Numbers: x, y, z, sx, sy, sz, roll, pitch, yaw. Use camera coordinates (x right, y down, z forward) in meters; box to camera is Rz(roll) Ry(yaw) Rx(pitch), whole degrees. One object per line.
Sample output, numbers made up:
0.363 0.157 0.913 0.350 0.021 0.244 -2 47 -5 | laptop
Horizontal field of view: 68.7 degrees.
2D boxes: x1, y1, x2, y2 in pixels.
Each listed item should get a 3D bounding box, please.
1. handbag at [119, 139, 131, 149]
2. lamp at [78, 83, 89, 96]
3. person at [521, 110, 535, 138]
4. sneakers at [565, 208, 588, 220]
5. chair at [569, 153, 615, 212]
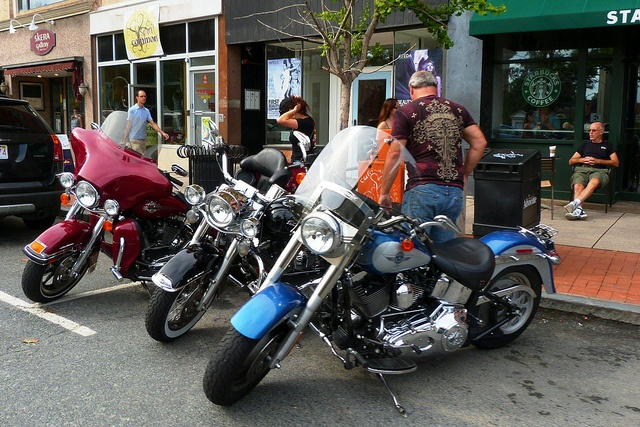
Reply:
-2.330 -0.827 5.604 0.098 0.072 0.038 19 -3 -2 | handbag
-9.658 -5.040 19.074 0.428 0.521 0.309 13 18 41 | lamp
4.947 -2.153 11.103 0.264 0.841 0.332 1 27 34 | person
5.144 0.015 9.334 0.490 0.234 0.167 3 -5 -28 | sneakers
5.460 -0.726 9.680 1.188 1.037 0.818 -10 17 -38 | chair
